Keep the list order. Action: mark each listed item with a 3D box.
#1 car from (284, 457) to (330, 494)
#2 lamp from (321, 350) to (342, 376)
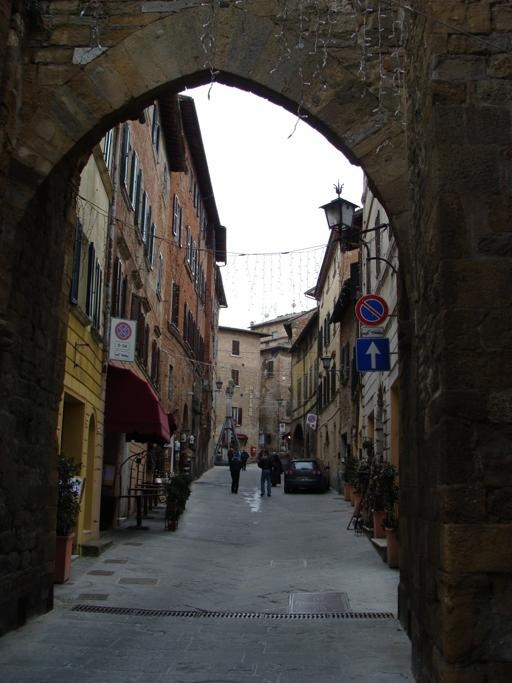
[{"bbox_3d":[2.065,5.976,26.900,1.849,1.518,1.505,4,-12,-14],"label":"car"},{"bbox_3d":[3.598,1.029,28.886,0.521,1.426,1.785,-1,5,4],"label":"lamp"}]
